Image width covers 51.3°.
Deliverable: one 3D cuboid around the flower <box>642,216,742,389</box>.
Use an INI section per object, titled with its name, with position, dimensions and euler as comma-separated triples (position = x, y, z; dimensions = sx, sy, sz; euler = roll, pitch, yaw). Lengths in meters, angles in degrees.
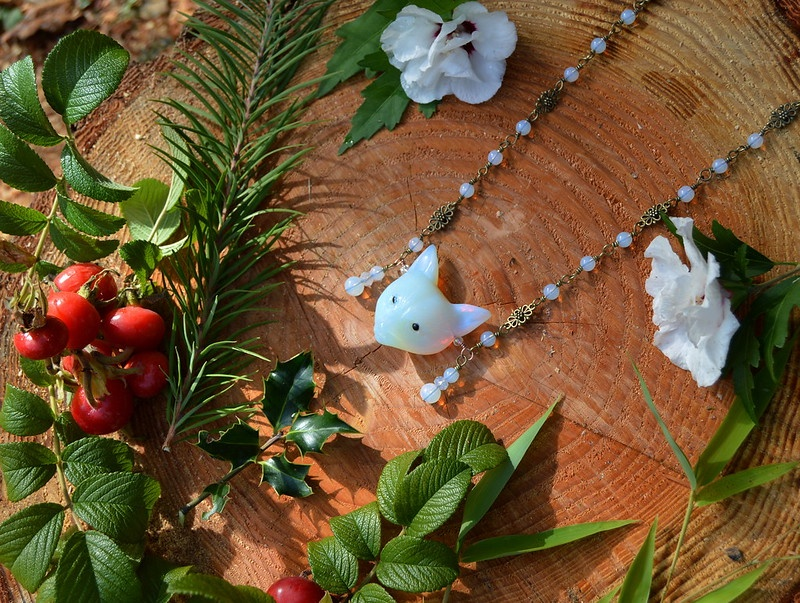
[flower]
position = 0.604, -0.012, 1.779
dimensions = 0.111, 0.282, 0.327
euler = 4, 18, -12
